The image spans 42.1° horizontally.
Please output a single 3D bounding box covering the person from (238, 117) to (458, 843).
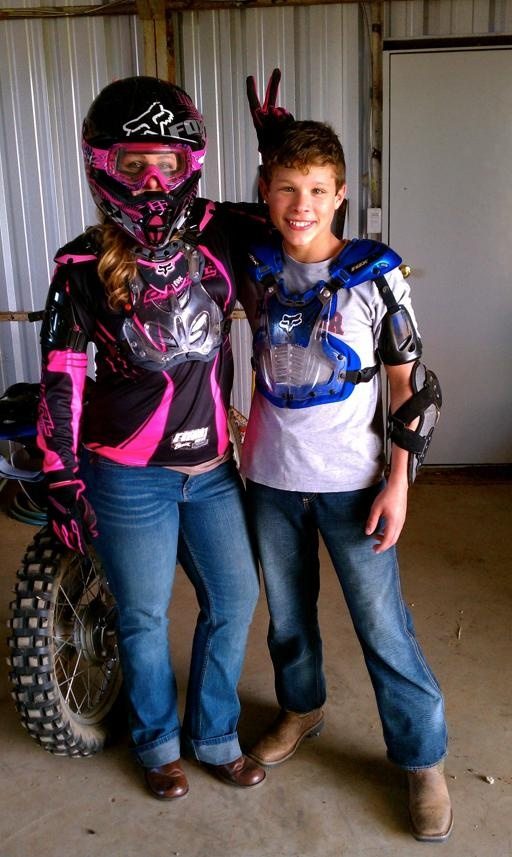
[{"bbox_3d":[0.180,0.108,1.434,0.480,1.481,0.320,1,10,19],"label":"person"}]

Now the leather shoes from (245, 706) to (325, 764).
[{"bbox_3d":[0.079,0.762,1.741,0.077,0.123,0.234,24,27,39],"label":"leather shoes"}]

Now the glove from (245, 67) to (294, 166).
[{"bbox_3d":[0.028,-0.636,1.378,0.080,0.182,0.051,-21,33,-20],"label":"glove"}]

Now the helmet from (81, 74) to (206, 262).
[{"bbox_3d":[-0.215,-0.528,1.328,0.241,0.320,0.313,-3,20,-10],"label":"helmet"}]

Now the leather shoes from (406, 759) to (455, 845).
[{"bbox_3d":[0.362,0.795,1.397,0.057,0.075,0.177,-6,-6,3],"label":"leather shoes"}]

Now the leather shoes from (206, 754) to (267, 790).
[{"bbox_3d":[-0.050,0.806,1.595,0.139,0.062,0.053,-2,6,35],"label":"leather shoes"}]
